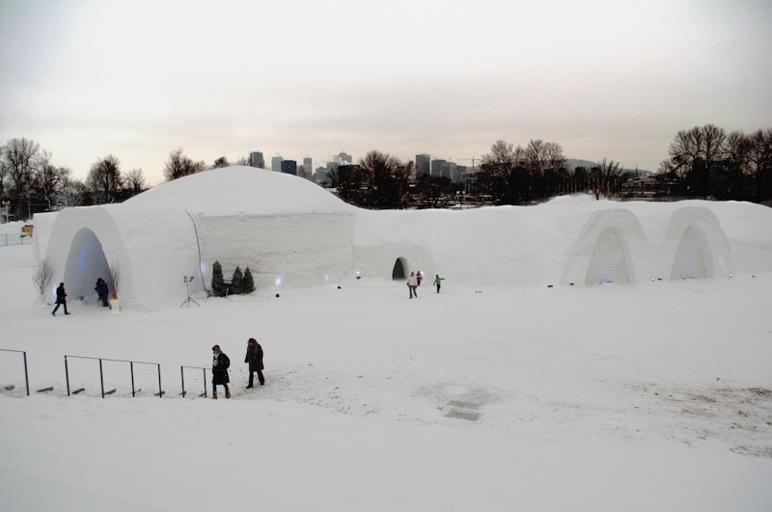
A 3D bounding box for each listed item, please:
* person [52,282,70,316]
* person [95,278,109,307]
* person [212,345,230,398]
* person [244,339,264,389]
[{"bbox_3d":[-13.387,1.593,24.045,0.576,1.501,2.116,-8,16,-29],"label":"person"},{"bbox_3d":[-11.895,1.541,24.657,0.401,1.048,1.603,-7,15,-26],"label":"person"},{"bbox_3d":[-4.873,3.380,17.252,0.520,1.609,1.041,-4,14,-17],"label":"person"},{"bbox_3d":[-4.095,3.202,18.282,0.547,1.475,1.035,-3,14,-12],"label":"person"}]
